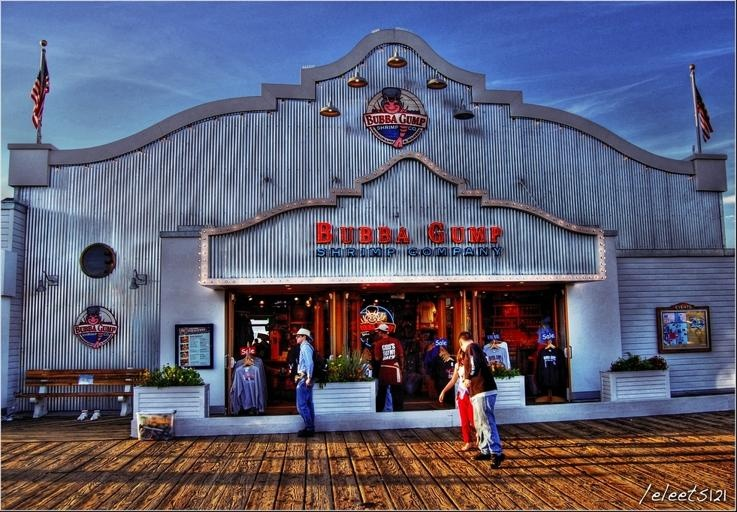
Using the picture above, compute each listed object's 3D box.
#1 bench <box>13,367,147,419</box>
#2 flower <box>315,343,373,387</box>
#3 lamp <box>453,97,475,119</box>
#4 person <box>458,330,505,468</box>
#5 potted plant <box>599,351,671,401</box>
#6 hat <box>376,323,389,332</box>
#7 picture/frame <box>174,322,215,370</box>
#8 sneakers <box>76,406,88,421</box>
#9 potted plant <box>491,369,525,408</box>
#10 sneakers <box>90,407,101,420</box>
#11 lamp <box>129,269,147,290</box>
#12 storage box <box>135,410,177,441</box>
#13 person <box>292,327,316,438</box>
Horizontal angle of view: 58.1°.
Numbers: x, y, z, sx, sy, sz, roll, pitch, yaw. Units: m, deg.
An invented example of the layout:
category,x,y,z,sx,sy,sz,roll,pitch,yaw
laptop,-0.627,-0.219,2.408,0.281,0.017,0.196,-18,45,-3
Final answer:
category,x,y,z,sx,sy,sz,roll,pitch,yaw
bench,-7.544,3.589,17.206,3.088,1.218,0.711,-1,5,1
flower,-0.630,2.548,15.249,1.092,0.478,1.082,2,-7,-20
lamp,2.706,-4.234,18.875,0.565,0.674,1.449,0,5,9
person,2.141,2.757,12.378,0.787,2.256,0.451,2,5,26
potted plant,6.490,3.081,16.376,1.618,1.267,1.094,1,-10,-10
hat,0.352,1.912,17.430,0.301,0.230,0.220,-4,0,9
picture/frame,-4.356,2.258,16.325,1.197,1.360,0.068,0,-3,-8
sneakers,-7.397,4.119,17.056,0.161,0.185,0.439,2,-11,-11
potted plant,3.220,3.122,15.696,0.951,0.905,0.672,0,-9,-4
sneakers,-7.031,4.150,16.983,0.209,0.101,0.277,1,26,-6
lamp,-6.200,0.639,17.827,0.409,0.569,0.456,-5,-10,31
storage box,-4.598,3.687,14.263,0.735,0.463,0.510,0,-4,-6
person,-1.371,2.771,14.234,0.428,2.241,0.763,-1,5,-5
